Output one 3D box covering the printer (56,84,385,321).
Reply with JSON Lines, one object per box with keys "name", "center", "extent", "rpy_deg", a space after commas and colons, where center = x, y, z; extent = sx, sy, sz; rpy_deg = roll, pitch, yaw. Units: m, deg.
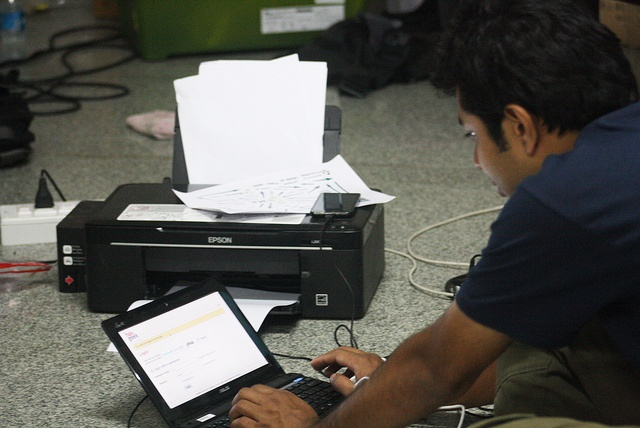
{"name": "printer", "center": [-0.187, -0.035, 1.370], "extent": [0.531, 0.272, 0.323], "rpy_deg": [2, 17, 10]}
